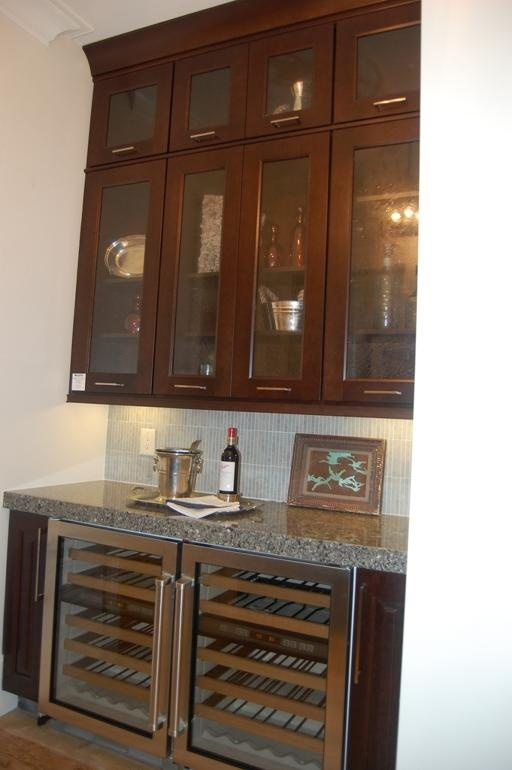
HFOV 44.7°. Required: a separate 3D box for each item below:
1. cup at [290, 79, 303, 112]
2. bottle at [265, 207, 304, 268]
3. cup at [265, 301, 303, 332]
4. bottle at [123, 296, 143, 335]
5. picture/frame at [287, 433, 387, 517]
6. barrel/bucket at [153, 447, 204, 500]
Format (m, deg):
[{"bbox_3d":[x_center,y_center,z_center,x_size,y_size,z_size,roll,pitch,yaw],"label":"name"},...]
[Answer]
[{"bbox_3d":[0.134,-0.944,2.038,0.043,0.103,0.045,-4,11,1],"label":"cup"},{"bbox_3d":[0.097,-0.469,2.019,0.137,0.188,0.051,2,12,31],"label":"bottle"},{"bbox_3d":[0.096,-0.218,2.036,0.100,0.078,0.091,0,-1,0],"label":"cup"},{"bbox_3d":[-0.459,-0.257,2.324,0.037,0.128,0.093,0,-4,-44],"label":"bottle"},{"bbox_3d":[0.280,0.307,2.054,0.259,0.221,0.022,1,-18,29],"label":"picture/frame"},{"bbox_3d":[-0.248,0.315,2.155,0.196,0.195,0.146,2,-11,-3],"label":"barrel/bucket"}]
